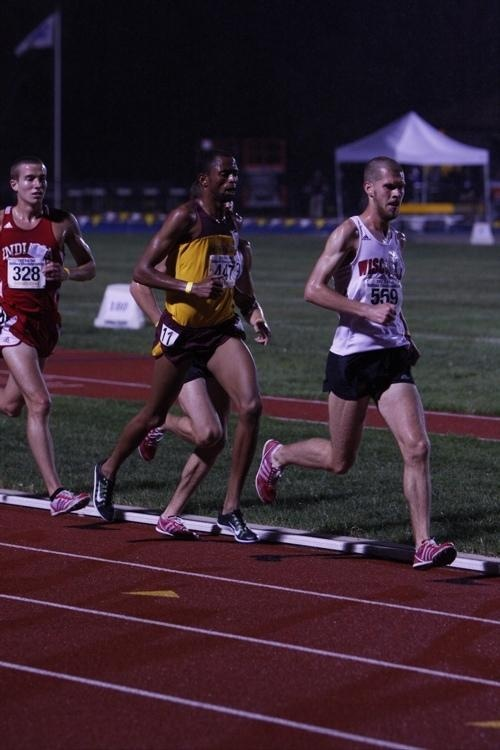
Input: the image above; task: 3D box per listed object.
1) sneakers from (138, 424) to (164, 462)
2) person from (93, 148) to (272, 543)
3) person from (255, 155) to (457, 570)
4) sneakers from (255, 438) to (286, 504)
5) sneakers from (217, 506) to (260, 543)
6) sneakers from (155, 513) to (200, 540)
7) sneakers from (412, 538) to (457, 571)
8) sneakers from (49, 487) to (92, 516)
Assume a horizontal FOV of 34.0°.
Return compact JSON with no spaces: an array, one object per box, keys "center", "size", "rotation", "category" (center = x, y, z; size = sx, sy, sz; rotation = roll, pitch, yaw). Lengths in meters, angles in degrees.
[{"center":[-0.631,0.452,5.307],"size":[0.193,0.145,0.454],"rotation":[-20,-11,-2],"category":"sneakers"},{"center":[-0.315,-0.111,4.009],"size":[0.786,1.903,0.682],"rotation":[3,3,0],"category":"person"},{"center":[0.532,-0.091,3.912],"size":[0.660,1.894,1.218],"rotation":[2,3,-17],"category":"person"},{"center":[0.142,0.564,4.669],"size":[0.194,0.372,0.143],"rotation":[16,20,37],"category":"sneakers"},{"center":[-0.063,0.760,4.235],"size":[0.109,0.125,0.309],"rotation":[-16,21,-37],"category":"sneakers"},{"center":[-0.388,0.800,4.302],"size":[0.261,0.098,0.090],"rotation":[5,4,-3],"category":"sneakers"},{"center":[0.789,0.781,3.535],"size":[0.092,0.103,0.233],"rotation":[-15,-8,-44],"category":"sneakers"},{"center":[-0.957,0.664,4.368],"size":[0.288,0.130,0.106],"rotation":[-20,7,36],"category":"sneakers"}]
